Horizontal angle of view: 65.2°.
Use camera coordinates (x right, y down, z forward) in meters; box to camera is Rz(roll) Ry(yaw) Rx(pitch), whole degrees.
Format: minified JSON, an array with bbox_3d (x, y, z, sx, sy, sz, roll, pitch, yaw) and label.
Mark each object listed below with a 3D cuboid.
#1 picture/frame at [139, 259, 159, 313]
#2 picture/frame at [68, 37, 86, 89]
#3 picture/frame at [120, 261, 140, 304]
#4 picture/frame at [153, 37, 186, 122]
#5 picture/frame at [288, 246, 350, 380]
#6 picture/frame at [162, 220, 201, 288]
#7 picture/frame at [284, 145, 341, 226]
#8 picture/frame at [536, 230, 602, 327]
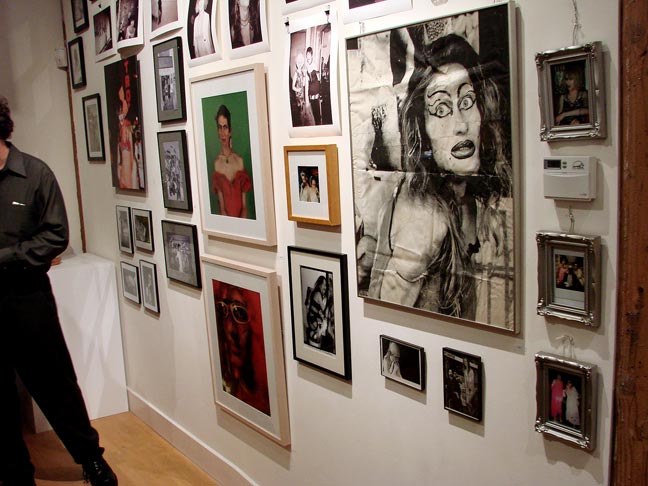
[{"bbox_3d":[-1.436,0.347,4.167,0.037,0.446,0.331,-7,15,-31],"label":"picture/frame"},{"bbox_3d":[-2.279,-1.666,4.678,0.064,0.567,0.424,-4,6,-34],"label":"picture/frame"},{"bbox_3d":[-1.696,0.341,4.440,0.023,0.349,0.308,-7,11,-40],"label":"picture/frame"},{"bbox_3d":[-1.058,-1.131,3.489,0.061,0.688,0.440,-9,15,-37],"label":"picture/frame"},{"bbox_3d":[-0.018,0.357,2.701,0.054,0.849,0.521,-12,18,-40],"label":"picture/frame"},{"bbox_3d":[-1.035,0.073,3.694,0.037,0.402,0.361,-12,24,-36],"label":"picture/frame"},{"bbox_3d":[-0.051,-0.298,2.571,0.042,0.341,0.310,-14,22,-32],"label":"picture/frame"},{"bbox_3d":[0.869,0.118,1.782,0.052,0.441,0.268,-8,9,-44],"label":"picture/frame"}]
